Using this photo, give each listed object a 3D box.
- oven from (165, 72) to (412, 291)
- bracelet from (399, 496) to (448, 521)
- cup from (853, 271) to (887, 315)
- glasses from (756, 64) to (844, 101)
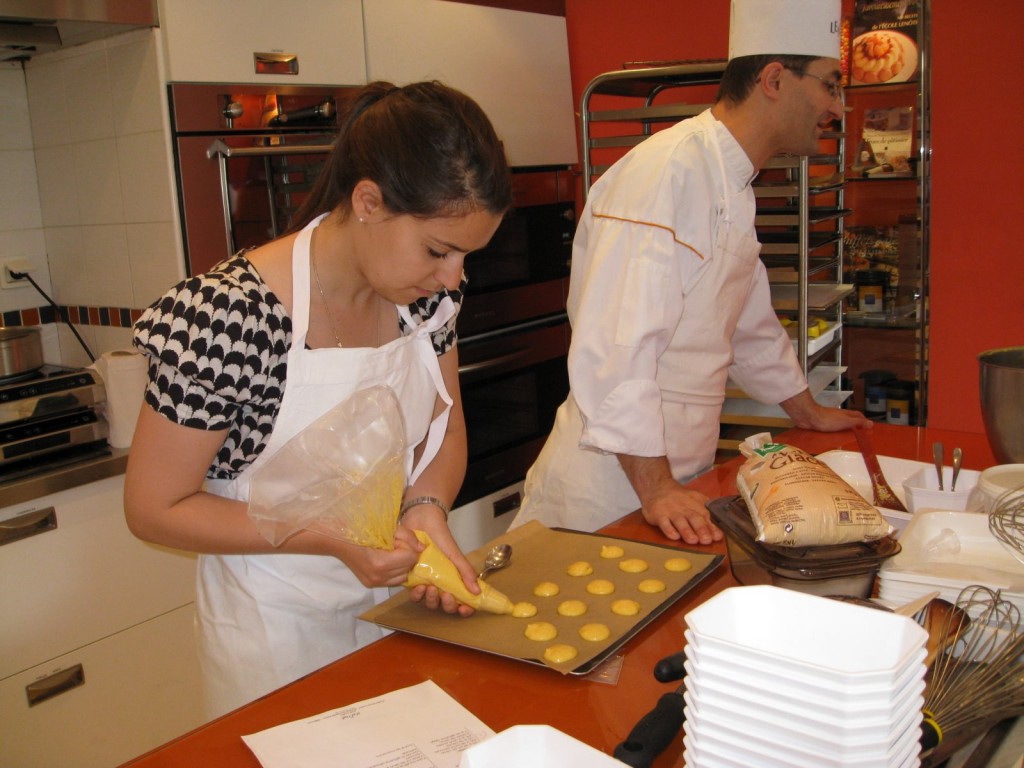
[{"bbox_3d":[-0.778,-0.653,2.576,0.535,0.833,0.818,8,12,36],"label":"oven"},{"bbox_3d":[-0.154,0.212,1.369,0.058,0.020,0.058,-1,-4,27],"label":"bracelet"},{"bbox_3d":[1.458,-0.376,3.288,0.152,0.231,0.118,2,4,31],"label":"cup"},{"bbox_3d":[0.639,-0.663,1.765,0.251,0.085,0.084,-11,16,-34],"label":"glasses"}]
